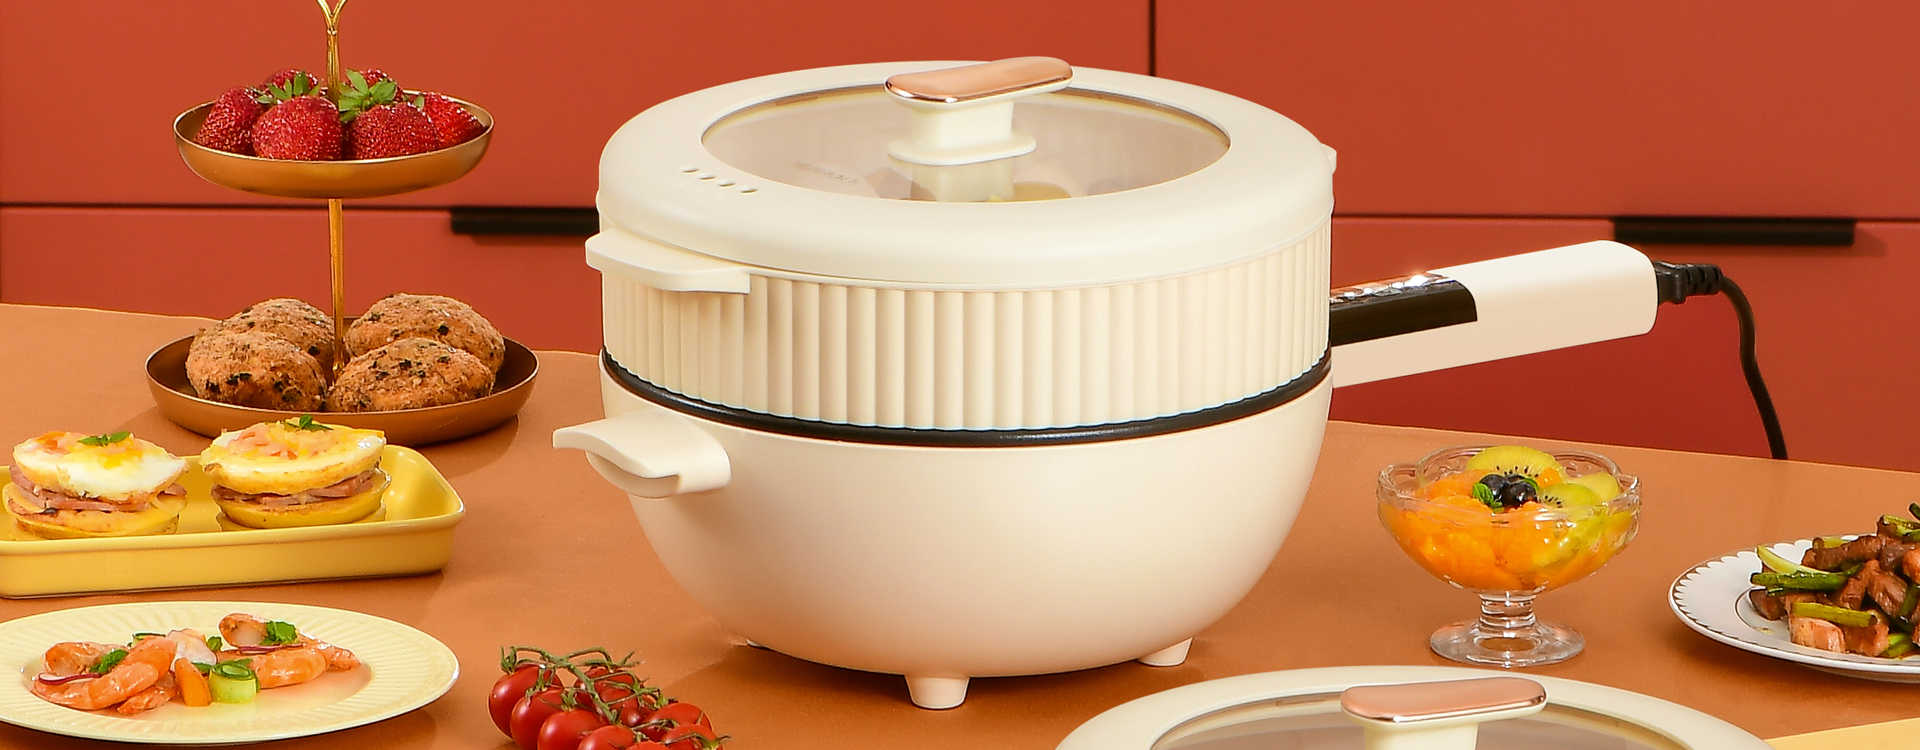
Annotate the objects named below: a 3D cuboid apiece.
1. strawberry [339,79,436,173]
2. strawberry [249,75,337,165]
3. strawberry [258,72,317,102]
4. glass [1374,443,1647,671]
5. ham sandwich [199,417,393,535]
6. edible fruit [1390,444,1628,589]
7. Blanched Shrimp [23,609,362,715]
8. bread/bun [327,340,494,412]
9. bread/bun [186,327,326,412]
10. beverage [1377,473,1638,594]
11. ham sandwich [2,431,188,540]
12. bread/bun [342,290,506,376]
[{"bbox_3d":[-0.946,-0.400,2.312,0.141,0.119,0.153,-9,54,-44],"label":"strawberry"},{"bbox_3d":[-1.090,-0.408,2.301,0.144,0.122,0.128,18,42,-38],"label":"strawberry"},{"bbox_3d":[-1.148,-0.491,2.407,0.084,0.040,0.083,-5,-2,0],"label":"strawberry"},{"bbox_3d":[0.778,0.247,2.102,0.423,0.217,0.336,-1,8,0],"label":"glass"},{"bbox_3d":[-0.996,0.163,2.154,0.253,0.089,0.184,5,23,6],"label":"ham sandwich"},{"bbox_3d":[0.772,0.199,2.033,0.305,0.105,0.252,-2,6,-4],"label":"edible fruit"},{"bbox_3d":[-1.055,0.392,1.915,0.352,0.052,0.161,-3,11,-19],"label":"Blanched Shrimp"},{"bbox_3d":[-0.895,0.007,2.238,0.184,0.050,0.164,-2,6,-3],"label":"bread/bun"},{"bbox_3d":[-1.162,-0.012,2.419,0.303,0.145,0.313,-3,5,-16],"label":"bread/bun"},{"bbox_3d":[0.800,0.242,2.051,0.295,0.098,0.261,8,-2,-30],"label":"beverage"},{"bbox_3d":[-1.278,0.170,2.112,0.229,0.062,0.188,-10,28,-32],"label":"ham sandwich"},{"bbox_3d":[-0.909,-0.075,2.397,0.228,0.083,0.153,8,5,-13],"label":"bread/bun"}]
